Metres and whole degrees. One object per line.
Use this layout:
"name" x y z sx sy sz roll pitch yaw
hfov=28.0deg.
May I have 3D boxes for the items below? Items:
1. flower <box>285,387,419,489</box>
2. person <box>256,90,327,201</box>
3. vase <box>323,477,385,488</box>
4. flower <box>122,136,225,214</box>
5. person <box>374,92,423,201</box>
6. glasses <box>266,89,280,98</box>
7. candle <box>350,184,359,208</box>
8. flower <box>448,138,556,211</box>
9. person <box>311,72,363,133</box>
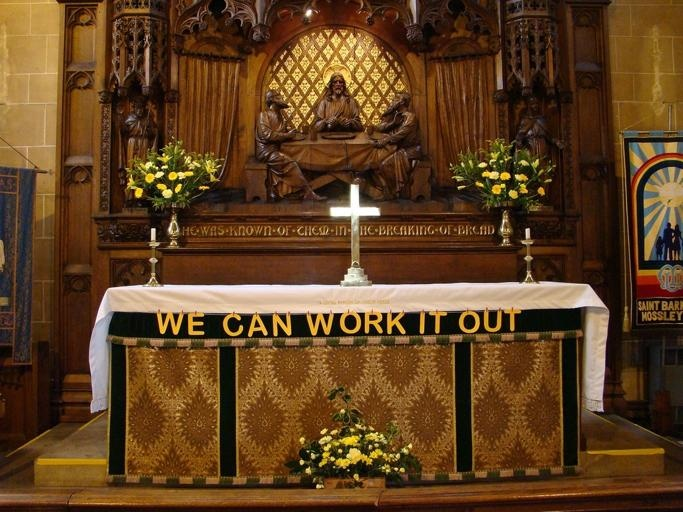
"flower" 0.109 1.721 12.981 1.259 0.943 0.342 -2 4 2
"person" -0.661 -1.272 15.690 0.701 1.274 0.407 -2 4 5
"vase" 0.113 2.153 12.893 0.569 0.098 0.110 -2 4 5
"flower" -1.863 -0.891 15.072 0.909 0.653 0.844 8 16 24
"person" 0.637 -1.263 15.715 0.551 1.200 0.348 -2 4 3
"glasses" -0.792 -1.866 15.783 0.103 0.120 0.094 13 8 -36
"candle" 0.136 -0.587 13.495 0.079 0.224 0.053 -5 4 -32
"flower" 1.832 -0.893 15.269 1.124 0.822 1.117 -2 4 8
"person" -0.072 -1.755 15.939 0.737 0.855 0.442 0 -4 -1
